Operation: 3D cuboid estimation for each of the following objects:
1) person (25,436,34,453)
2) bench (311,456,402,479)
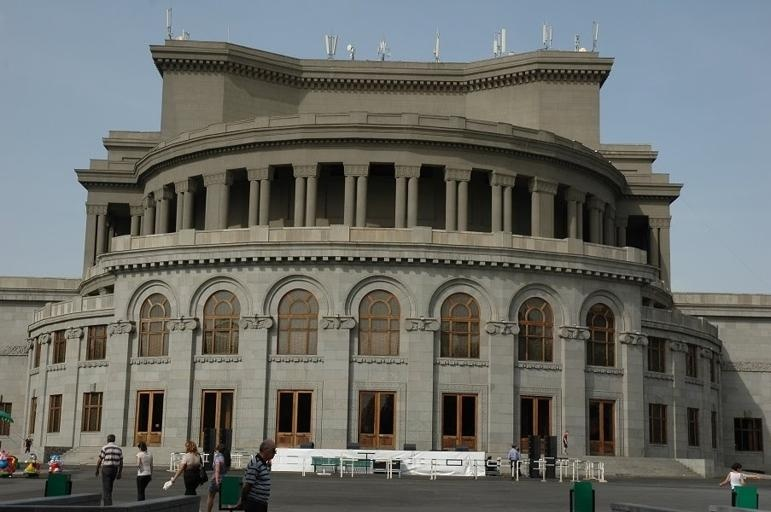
[{"bbox_3d":[-28.316,15.119,97.960,0.463,1.254,1.413,-1,-1,-24],"label":"person"},{"bbox_3d":[-1.942,13.719,80.328,5.704,1.375,2.390,-1,-1,-3],"label":"bench"}]
